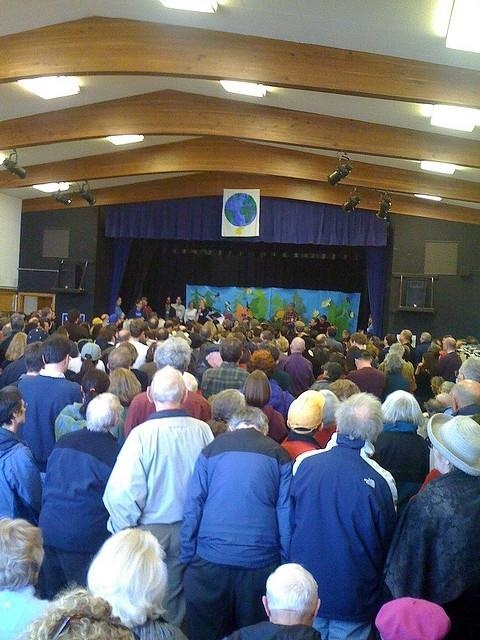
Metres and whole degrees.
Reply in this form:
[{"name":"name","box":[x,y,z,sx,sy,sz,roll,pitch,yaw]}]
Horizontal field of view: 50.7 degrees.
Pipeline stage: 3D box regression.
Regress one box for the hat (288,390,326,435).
[{"name":"hat","box":[0.305,0.416,2.326,0.130,0.203,0.105,7,-42,22]}]

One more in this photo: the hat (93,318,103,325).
[{"name":"hat","box":[-2.104,0.022,7.479,0.121,0.081,0.129,-2,3,-3]}]

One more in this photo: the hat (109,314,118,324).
[{"name":"hat","box":[-2.264,-0.014,9.057,0.188,0.138,0.308,4,-7,4]}]

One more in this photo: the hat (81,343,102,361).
[{"name":"hat","box":[-1.202,0.263,4.087,0.147,0.109,0.239,12,-12,2]}]

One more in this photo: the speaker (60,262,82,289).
[{"name":"speaker","box":[-3.983,-1.040,11.823,0.602,0.674,0.454,4,0,-6]}]
